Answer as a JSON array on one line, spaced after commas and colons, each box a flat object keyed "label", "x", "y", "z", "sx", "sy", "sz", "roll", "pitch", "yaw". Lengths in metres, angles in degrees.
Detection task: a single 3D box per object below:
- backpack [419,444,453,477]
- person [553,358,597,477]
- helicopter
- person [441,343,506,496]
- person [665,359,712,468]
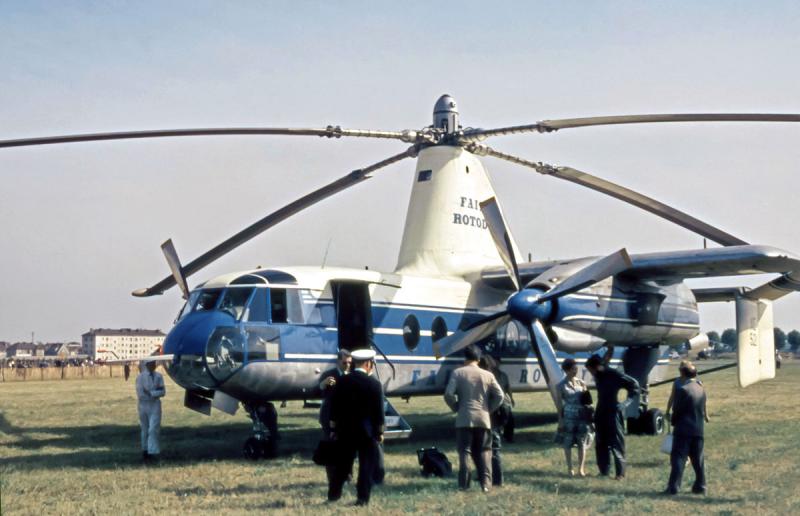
[{"label": "backpack", "x": 0.827, "y": 4.916, "z": 20.777, "sx": 0.482, "sy": 0.458, "sz": 0.848, "roll": -1, "pitch": -3, "yaw": -5}, {"label": "person", "x": 4.210, "y": 3.807, "z": 20.636, "sx": 0.887, "sy": 2.762, "sz": 1.070, "roll": -2, "pitch": -5, "yaw": 11}, {"label": "helicopter", "x": 1.545, "y": 0.030, "z": 23.184, "sx": 15.610, "sy": 10.020, "sz": 5.403, "roll": 0, "pitch": -5, "yaw": -9}, {"label": "person", "x": 1.691, "y": 3.558, "z": 19.353, "sx": 1.371, "sy": 3.094, "sz": 1.126, "roll": 0, "pitch": -5, "yaw": 1}, {"label": "person", "x": 6.403, "y": 3.784, "z": 19.169, "sx": 0.841, "sy": 2.869, "sz": 0.559, "roll": 0, "pitch": -5, "yaw": -10}]
